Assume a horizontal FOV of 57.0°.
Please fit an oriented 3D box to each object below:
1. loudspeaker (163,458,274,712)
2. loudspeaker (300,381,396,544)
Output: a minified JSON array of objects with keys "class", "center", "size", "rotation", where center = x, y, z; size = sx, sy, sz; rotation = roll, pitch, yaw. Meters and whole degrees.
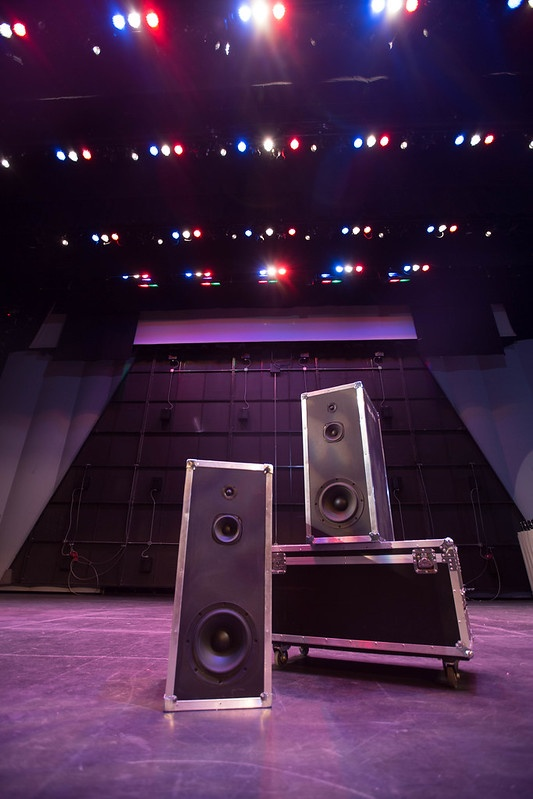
[{"class":"loudspeaker","center":[-0.159,0.693,1.943],"size":[0.379,0.912,0.288],"rotation":[2,-34,1]},{"class":"loudspeaker","center":[0.413,0.333,2.774],"size":[0.424,0.913,0.366],"rotation":[-2,-35,7]}]
